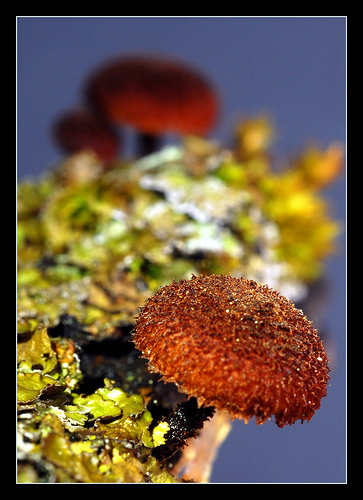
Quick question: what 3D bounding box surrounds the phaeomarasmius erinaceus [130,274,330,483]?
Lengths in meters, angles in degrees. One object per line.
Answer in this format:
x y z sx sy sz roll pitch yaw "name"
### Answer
0.052 0.267 1.352 0.446 0.416 0.402 13 29 -19 "phaeomarasmius erinaceus"
